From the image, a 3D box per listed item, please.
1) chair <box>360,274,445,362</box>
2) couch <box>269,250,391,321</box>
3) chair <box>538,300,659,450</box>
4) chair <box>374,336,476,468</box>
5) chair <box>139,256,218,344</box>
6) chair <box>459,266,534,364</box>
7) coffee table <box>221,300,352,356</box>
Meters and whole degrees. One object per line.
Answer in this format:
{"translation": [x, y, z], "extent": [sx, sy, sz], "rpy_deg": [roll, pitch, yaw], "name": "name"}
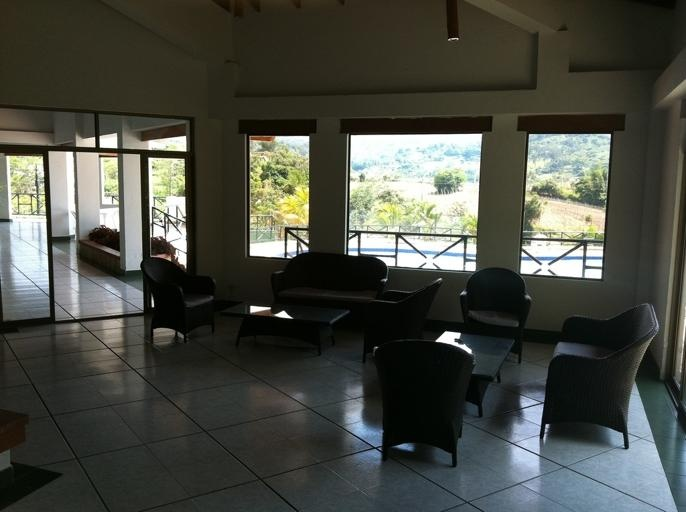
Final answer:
{"translation": [0.841, 0.833, 6.988], "extent": [1.004, 1.070, 0.870], "rpy_deg": [2, 7, 17], "name": "chair"}
{"translation": [-0.154, 0.483, 8.359], "extent": [1.858, 0.874, 0.881], "rpy_deg": [3, 9, 16], "name": "couch"}
{"translation": [2.904, 1.216, 5.706], "extent": [1.101, 1.083, 1.955], "rpy_deg": [-2, 4, 28], "name": "chair"}
{"translation": [0.739, 1.369, 4.855], "extent": [1.056, 1.078, 1.103], "rpy_deg": [-2, -10, 39], "name": "chair"}
{"translation": [-2.586, 0.644, 7.890], "extent": [1.043, 1.115, 0.992], "rpy_deg": [7, 8, 39], "name": "chair"}
{"translation": [2.194, 0.848, 7.444], "extent": [1.033, 1.219, 0.838], "rpy_deg": [2, 8, 7], "name": "chair"}
{"translation": [-0.816, 1.042, 7.443], "extent": [1.641, 0.585, 0.871], "rpy_deg": [3, 11, 11], "name": "coffee table"}
